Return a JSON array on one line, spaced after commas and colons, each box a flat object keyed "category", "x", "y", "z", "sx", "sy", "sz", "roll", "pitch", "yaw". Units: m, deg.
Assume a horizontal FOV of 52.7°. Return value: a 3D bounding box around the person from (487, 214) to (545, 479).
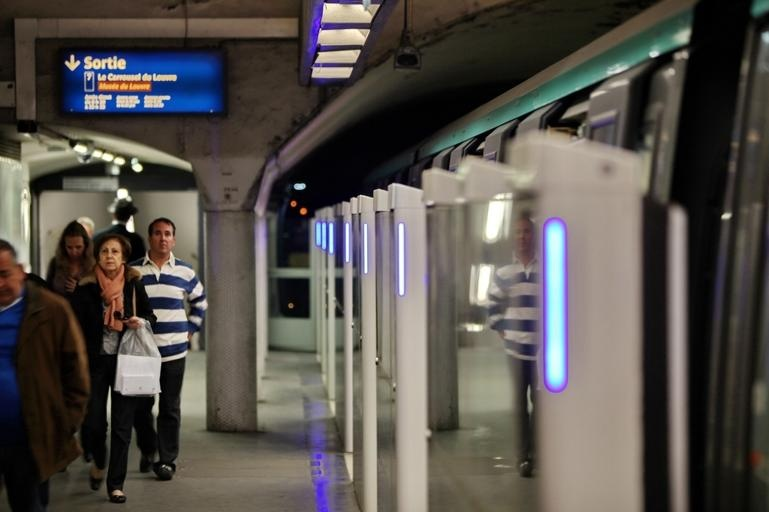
[{"category": "person", "x": 0.446, "y": 0.290, "z": 2.664, "sx": 0.096, "sy": 0.895, "sz": 0.390, "roll": 1, "pitch": 2, "yaw": -6}]
